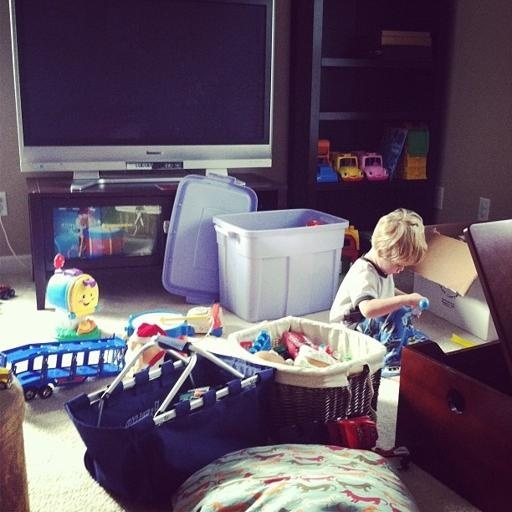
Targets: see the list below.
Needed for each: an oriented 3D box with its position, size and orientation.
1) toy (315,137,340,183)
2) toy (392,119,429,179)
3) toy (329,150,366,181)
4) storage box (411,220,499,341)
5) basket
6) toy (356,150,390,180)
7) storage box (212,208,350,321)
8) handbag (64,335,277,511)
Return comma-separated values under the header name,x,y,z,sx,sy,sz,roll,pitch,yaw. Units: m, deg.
name,x,y,z,sx,sy,sz,roll,pitch,yaw
toy,0.436,-0.562,2.704,0.132,0.235,0.162,-20,19,-8
toy,0.891,-0.626,2.791,0.158,0.297,0.164,-5,16,-14
toy,0.515,-0.523,2.739,0.108,0.109,0.211,-1,25,-2
storage box,0.774,0.179,1.993,0.319,0.168,0.321,22,50,10
basket,0.120,0.304,1.266,0.243,0.184,0.334,-2,8,-20
toy,0.658,-0.513,2.727,0.106,0.127,0.206,-3,18,-5
storage box,0.095,0.029,2.079,0.528,0.415,0.362,-7,16,-30
handbag,-0.167,0.305,1.115,0.261,0.304,0.457,14,23,43
